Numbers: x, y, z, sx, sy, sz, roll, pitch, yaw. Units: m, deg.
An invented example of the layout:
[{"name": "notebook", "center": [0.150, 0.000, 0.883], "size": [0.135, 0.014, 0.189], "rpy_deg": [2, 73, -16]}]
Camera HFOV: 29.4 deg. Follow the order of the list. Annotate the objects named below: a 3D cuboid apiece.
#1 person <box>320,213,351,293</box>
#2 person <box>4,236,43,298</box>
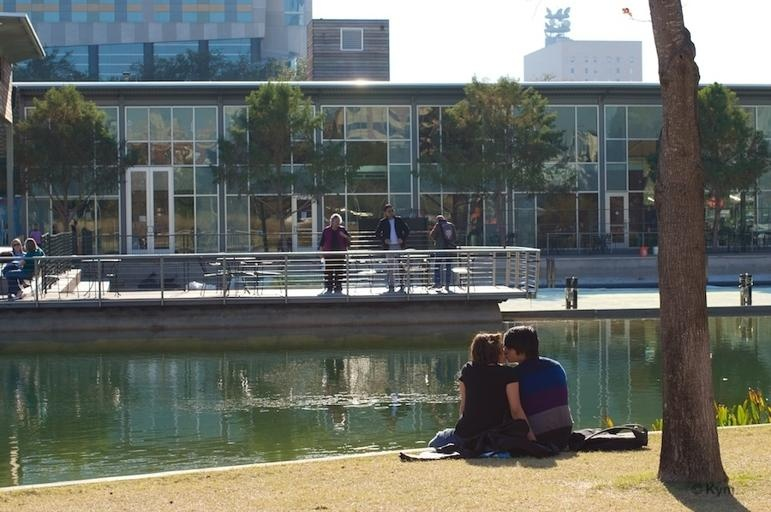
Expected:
[{"name": "person", "center": [-1.705, -0.075, 51.642], "size": [1.123, 2.802, 0.878], "rpy_deg": [-2, -12, 5]}, {"name": "person", "center": [-12.548, 0.491, 51.182], "size": [1.119, 2.476, 1.078], "rpy_deg": [0, -3, 30]}]
